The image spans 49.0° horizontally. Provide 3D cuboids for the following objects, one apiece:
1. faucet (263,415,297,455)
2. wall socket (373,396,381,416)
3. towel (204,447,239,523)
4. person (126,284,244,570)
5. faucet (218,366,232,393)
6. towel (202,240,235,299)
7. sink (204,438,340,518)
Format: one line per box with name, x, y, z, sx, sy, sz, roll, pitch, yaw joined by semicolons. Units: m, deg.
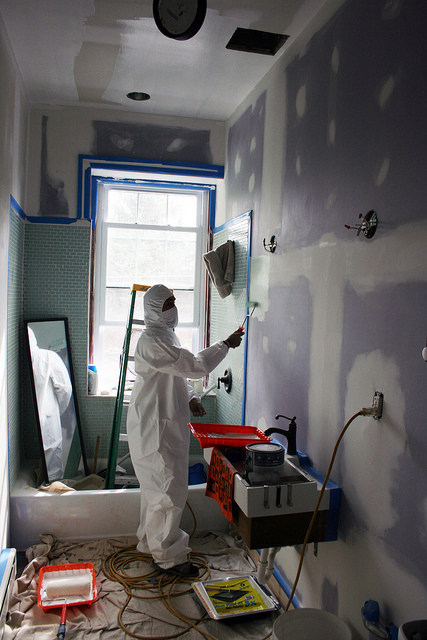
faucet;0.280;0.471;1.957;0.134;0.204;0.048;1;31;8
wall socket;0.502;0.265;1.436;0.010;0.054;0.031;2;2;-24
towel;0.027;0.668;1.895;0.056;0.202;0.320;-7;-38;23
person;-0.237;0.547;2.555;0.582;1.465;0.360;4;2;39
faucet;0.088;0.432;3.369;0.073;0.222;0.189;1;-4;-10
towel;0.055;-0.346;3.144;0.100;0.334;0.286;-4;-8;-37
sink;0.233;0.581;1.729;0.249;0.111;0.428;0;0;-12
